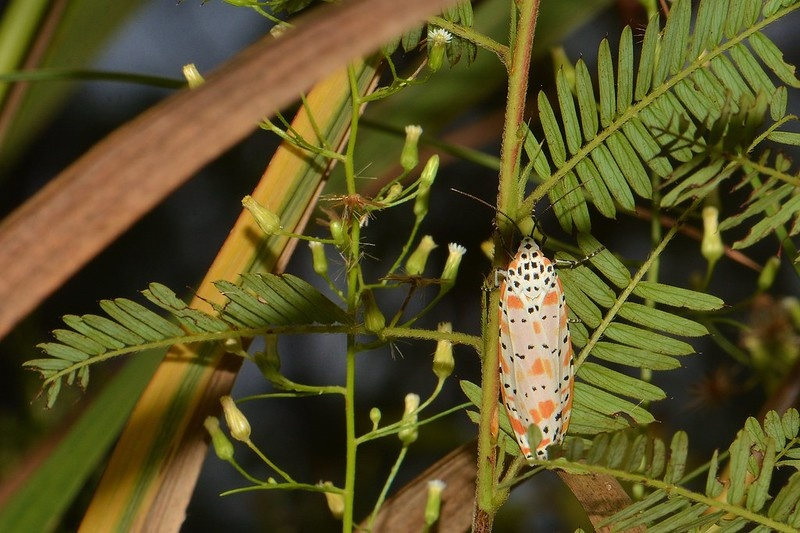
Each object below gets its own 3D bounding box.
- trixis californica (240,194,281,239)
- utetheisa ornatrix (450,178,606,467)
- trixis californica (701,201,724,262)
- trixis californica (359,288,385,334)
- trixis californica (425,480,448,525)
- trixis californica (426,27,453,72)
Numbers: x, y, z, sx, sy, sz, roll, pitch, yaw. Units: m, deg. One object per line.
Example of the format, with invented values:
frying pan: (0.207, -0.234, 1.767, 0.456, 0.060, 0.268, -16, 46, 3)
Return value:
trixis californica: (-0.246, -0.082, 1.454, 0.099, 0.041, 0.034, 45, 30, -15)
utetheisa ornatrix: (0.251, 0.117, 1.420, 0.200, 0.503, 0.112, -3, -12, 11)
trixis californica: (0.697, -0.074, 1.729, 0.053, 0.136, 0.245, 9, 2, 22)
trixis californica: (-0.052, 0.083, 1.433, 0.037, 0.037, 0.088, 13, -28, 17)
trixis californica: (0.071, 0.492, 1.587, 0.038, 0.094, 0.115, 8, 2, 4)
trixis californica: (0.071, -0.414, 1.491, 0.040, 0.087, 0.039, 6, 28, -5)
